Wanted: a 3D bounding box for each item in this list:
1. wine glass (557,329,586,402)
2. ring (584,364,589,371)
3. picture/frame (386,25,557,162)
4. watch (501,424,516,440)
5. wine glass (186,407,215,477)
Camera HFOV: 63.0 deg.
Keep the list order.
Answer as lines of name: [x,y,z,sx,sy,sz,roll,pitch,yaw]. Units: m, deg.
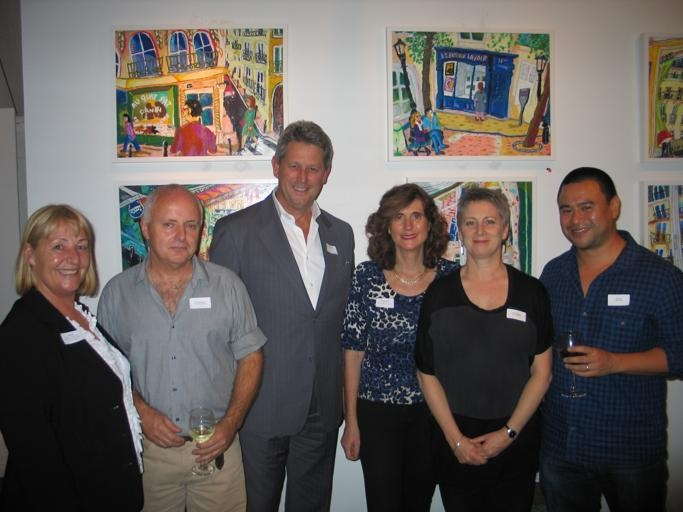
wine glass: [1.437,0.706,3.505,0.168,0.485,0.216,1,9,24]
ring: [1.504,0.686,3.427,0.024,0.039,0.038,2,-2,10]
picture/frame: [0.964,-1.203,4.229,1.265,0.964,0.023,-1,4,-5]
watch: [1.009,1.063,3.351,0.064,0.039,0.088,3,45,-45]
wine glass: [-0.798,1.097,3.251,0.143,0.453,0.184,-5,9,-16]
